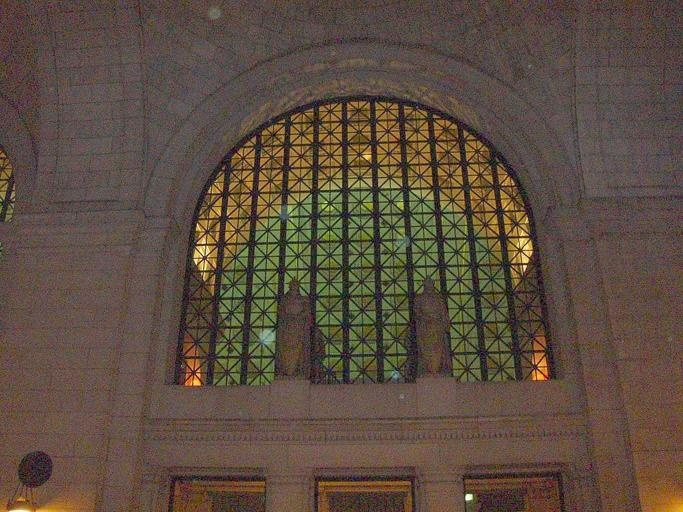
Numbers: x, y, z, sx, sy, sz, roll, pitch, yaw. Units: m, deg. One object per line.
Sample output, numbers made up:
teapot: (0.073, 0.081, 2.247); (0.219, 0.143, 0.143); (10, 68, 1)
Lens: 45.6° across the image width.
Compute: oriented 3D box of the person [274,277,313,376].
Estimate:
person: (-1.097, 1.666, 18.336); (0.746, 2.201, 0.754); (3, -31, -7)

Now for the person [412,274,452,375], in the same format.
person: (2.012, 1.583, 18.233); (0.799, 2.182, 0.656); (-5, -31, 5)
